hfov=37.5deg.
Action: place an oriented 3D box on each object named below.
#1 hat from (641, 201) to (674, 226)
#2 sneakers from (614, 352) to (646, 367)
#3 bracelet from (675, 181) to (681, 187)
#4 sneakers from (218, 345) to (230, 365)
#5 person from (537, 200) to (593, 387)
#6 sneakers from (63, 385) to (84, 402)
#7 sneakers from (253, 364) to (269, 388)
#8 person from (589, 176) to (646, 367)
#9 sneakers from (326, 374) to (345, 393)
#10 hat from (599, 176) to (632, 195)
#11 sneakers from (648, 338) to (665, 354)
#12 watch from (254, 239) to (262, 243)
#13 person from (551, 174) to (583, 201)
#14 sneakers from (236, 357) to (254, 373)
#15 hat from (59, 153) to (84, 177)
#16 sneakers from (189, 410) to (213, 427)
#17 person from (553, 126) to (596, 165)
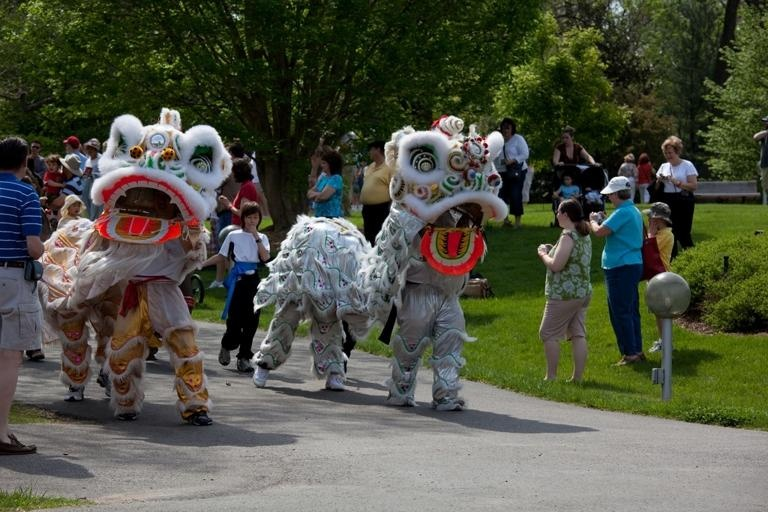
[{"bbox_3d":[4.038,-0.692,16.987,0.424,0.218,0.344,28,10,33],"label":"hat"},{"bbox_3d":[3.492,1.493,16.219,0.509,0.197,0.169,-10,0,1],"label":"sneakers"},{"bbox_3d":[4.763,-1.201,18.600,0.069,0.045,0.077,5,-9,2],"label":"bracelet"},{"bbox_3d":[-2.262,1.412,15.878,0.118,0.306,0.113,1,21,-8],"label":"sneakers"},{"bbox_3d":[2.414,0.487,15.445,0.703,2.525,0.552,3,12,8],"label":"person"},{"bbox_3d":[-3.809,1.712,13.934,0.113,0.135,0.301,2,6,-4],"label":"sneakers"},{"bbox_3d":[-1.631,1.613,14.938,0.130,0.356,0.156,20,-39,-32],"label":"sneakers"},{"bbox_3d":[3.331,0.210,16.184,0.737,2.662,0.694,-5,13,-25],"label":"person"},{"bbox_3d":[-0.662,1.682,14.987,0.138,0.136,0.324,3,-8,-25],"label":"sneakers"},{"bbox_3d":[3.254,-1.026,16.141,0.414,0.201,0.283,-2,3,3],"label":"hat"},{"bbox_3d":[3.951,1.313,16.752,0.187,0.145,0.503,5,12,17],"label":"sneakers"},{"bbox_3d":[-1.758,-0.218,15.726,0.062,0.041,0.065,-1,-3,18],"label":"watch"},{"bbox_3d":[3.691,-1.412,23.256,0.323,0.551,0.824,-5,13,-25],"label":"person"},{"bbox_3d":[-1.934,1.526,15.714,0.122,0.123,0.297,-6,5,-39],"label":"sneakers"},{"bbox_3d":[-5.627,-1.703,20.276,0.371,0.147,0.371,50,16,24],"label":"hat"},{"bbox_3d":[-2.148,1.907,13.225,0.304,0.123,0.128,7,4,11],"label":"sneakers"},{"bbox_3d":[3.760,-2.179,23.259,0.864,1.059,0.624,-6,4,-6],"label":"person"}]
